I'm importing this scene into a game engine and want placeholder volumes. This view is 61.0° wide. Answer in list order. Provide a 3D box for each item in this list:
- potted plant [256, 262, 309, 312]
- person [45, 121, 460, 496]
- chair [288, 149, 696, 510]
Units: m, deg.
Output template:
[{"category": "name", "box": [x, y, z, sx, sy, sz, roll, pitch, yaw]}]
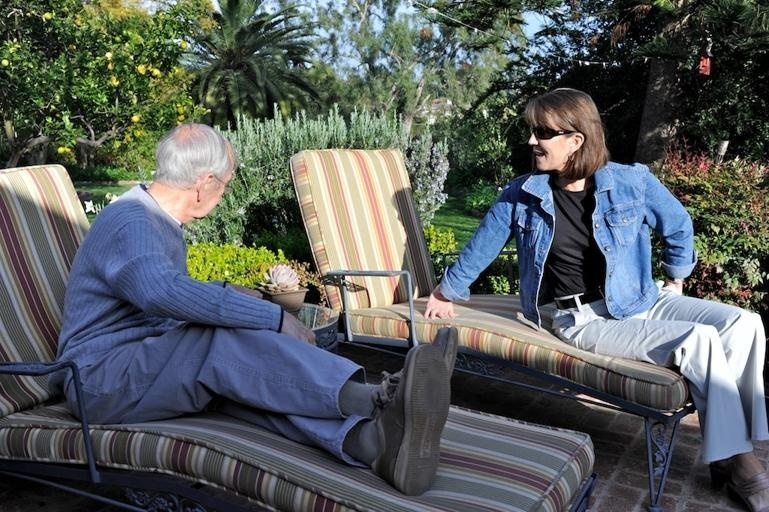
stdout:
[{"category": "potted plant", "box": [-0.764, 0.276, 4.807, 0.311, 0.393, 0.376, -13, 4, 17]}, {"category": "person", "box": [-0.761, 0.223, 3.277, 1.987, 1.658, 0.688, 6, 15, 23]}, {"category": "chair", "box": [0.814, 0.169, 5.351, 3.310, 2.501, 1.665, 4, 6, 37]}]
